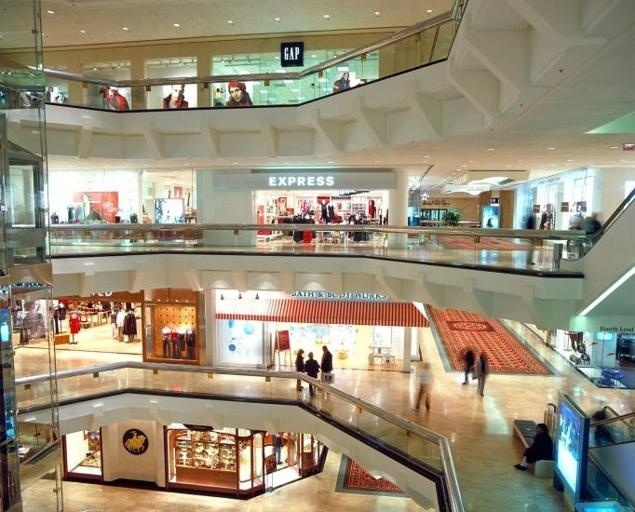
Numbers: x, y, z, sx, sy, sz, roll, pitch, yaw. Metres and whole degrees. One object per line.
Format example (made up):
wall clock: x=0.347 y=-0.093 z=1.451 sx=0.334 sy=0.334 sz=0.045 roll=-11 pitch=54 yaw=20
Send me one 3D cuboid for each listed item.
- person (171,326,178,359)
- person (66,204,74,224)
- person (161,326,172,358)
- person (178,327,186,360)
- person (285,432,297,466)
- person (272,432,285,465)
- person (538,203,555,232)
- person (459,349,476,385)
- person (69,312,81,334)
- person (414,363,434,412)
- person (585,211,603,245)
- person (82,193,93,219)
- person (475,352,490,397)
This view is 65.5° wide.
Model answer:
person: x=-5.068 y=3.137 z=17.592 sx=0.260 sy=1.107 sz=0.109 roll=0 pitch=3 yaw=-4
person: x=-8.517 y=-1.494 z=17.091 sx=0.202 sy=0.604 sz=1.207 roll=-1 pitch=3 yaw=-27
person: x=-5.371 y=3.098 z=17.624 sx=0.309 sy=1.106 sz=0.117 roll=0 pitch=3 yaw=-6
person: x=-4.801 y=3.133 z=17.573 sx=0.228 sy=1.107 sz=0.095 roll=0 pitch=3 yaw=-5
person: x=-0.881 y=6.433 z=16.375 sx=0.480 sy=0.994 sz=0.261 roll=1 pitch=3 yaw=17
person: x=-1.277 y=6.403 z=16.315 sx=0.226 sy=1.043 sz=0.507 roll=2 pitch=3 yaw=32
person: x=9.406 y=-1.681 z=20.218 sx=0.463 sy=1.122 sz=3.581 roll=1 pitch=3 yaw=25
person: x=4.119 y=2.991 z=13.456 sx=0.286 sy=0.903 sz=0.792 roll=1 pitch=3 yaw=18
person: x=-9.561 y=2.681 z=19.509 sx=0.281 sy=0.820 sz=1.103 roll=-1 pitch=3 yaw=-20
person: x=2.514 y=3.134 z=11.727 sx=0.365 sy=1.097 sz=0.644 roll=1 pitch=3 yaw=12
person: x=5.321 y=-0.535 z=9.523 sx=0.207 sy=0.939 sz=0.618 roll=4 pitch=-3 yaw=28
person: x=-8.029 y=-1.795 z=17.227 sx=0.344 sy=0.937 sz=1.414 roll=-1 pitch=3 yaw=-25
person: x=4.146 y=2.947 z=12.495 sx=0.260 sy=1.079 sz=0.982 roll=1 pitch=3 yaw=18
